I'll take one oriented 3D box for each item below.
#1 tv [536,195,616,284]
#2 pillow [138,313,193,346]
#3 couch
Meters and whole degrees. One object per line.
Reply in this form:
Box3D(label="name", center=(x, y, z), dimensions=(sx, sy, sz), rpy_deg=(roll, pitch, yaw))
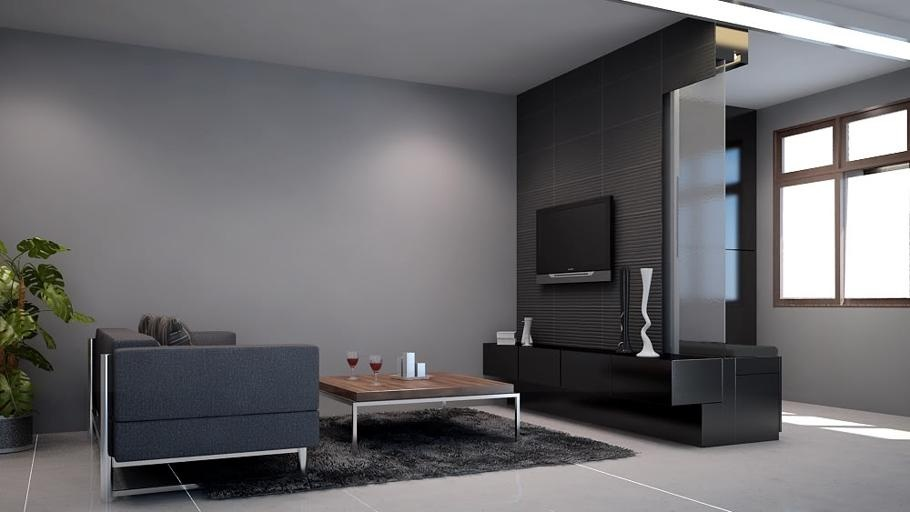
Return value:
Box3D(label="tv", center=(1.675, -0.221, 8.153), dimensions=(0.143, 1.006, 1.339), rpy_deg=(4, -7, -39))
Box3D(label="pillow", center=(-2.790, 0.721, 5.808), dimensions=(0.498, 0.199, 0.475), rpy_deg=(10, -6, -28))
Box3D(label="couch", center=(-2.769, 1.696, 6.589), dimensions=(1.832, 1.211, 3.091), rpy_deg=(3, -14, -28))
